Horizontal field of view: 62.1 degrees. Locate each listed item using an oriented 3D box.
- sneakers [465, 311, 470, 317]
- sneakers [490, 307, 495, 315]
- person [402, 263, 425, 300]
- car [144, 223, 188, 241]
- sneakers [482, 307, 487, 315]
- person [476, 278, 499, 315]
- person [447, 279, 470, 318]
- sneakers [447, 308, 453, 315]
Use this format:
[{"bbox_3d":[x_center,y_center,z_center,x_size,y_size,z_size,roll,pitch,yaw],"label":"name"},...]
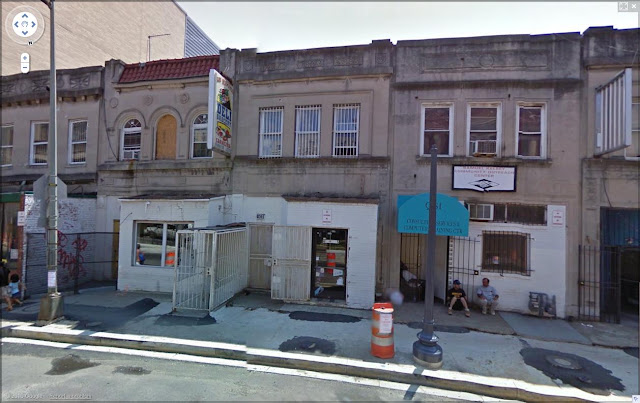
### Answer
[{"bbox_3d":[6.330,4.781,22.728,0.220,0.234,0.125,0,-4,3],"label":"sneakers"},{"bbox_3d":[7.488,4.732,22.993,0.143,0.316,0.306,-3,-5,42],"label":"sneakers"},{"bbox_3d":[4.337,3.606,24.499,0.866,1.306,0.893,4,12,38],"label":"person"},{"bbox_3d":[-7.369,1.306,24.635,1.626,0.726,0.940,7,-7,-11],"label":"car"},{"bbox_3d":[7.136,4.713,23.006,0.270,0.307,0.232,1,-4,-8],"label":"sneakers"},{"bbox_3d":[7.288,4.094,23.135,0.929,1.463,0.867,-2,-11,23],"label":"person"},{"bbox_3d":[5.991,4.163,23.027,0.885,1.500,0.597,0,-4,13],"label":"person"},{"bbox_3d":[5.617,4.740,22.900,0.208,0.252,0.312,-1,-4,14],"label":"sneakers"}]
